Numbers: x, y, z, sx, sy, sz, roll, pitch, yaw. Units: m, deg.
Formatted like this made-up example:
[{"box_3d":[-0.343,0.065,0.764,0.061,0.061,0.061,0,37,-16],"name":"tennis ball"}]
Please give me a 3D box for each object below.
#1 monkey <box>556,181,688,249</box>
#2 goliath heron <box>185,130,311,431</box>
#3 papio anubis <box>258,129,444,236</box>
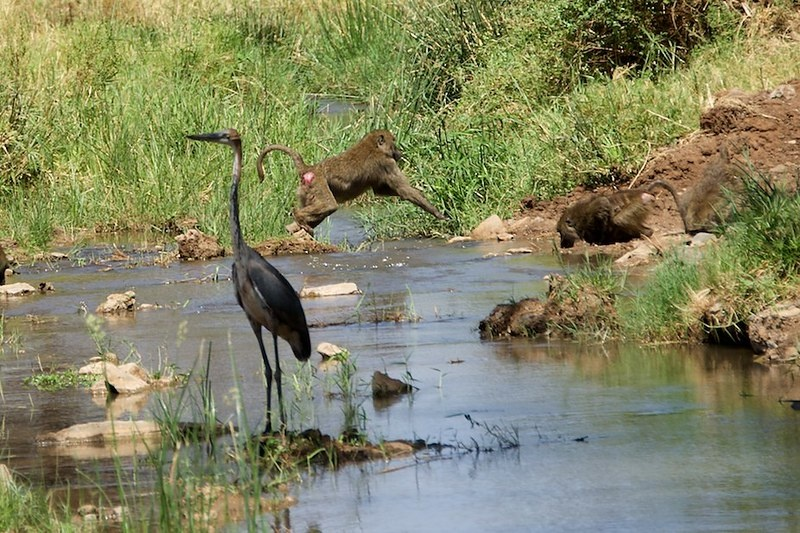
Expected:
[{"box_3d":[3.227,-0.692,16.412,2.034,0.845,0.625,-13,11,-8],"name":"monkey"},{"box_3d":[-1.324,0.242,10.525,0.629,2.905,1.323,0,0,41],"name":"goliath heron"},{"box_3d":[-0.831,-1.365,18.309,2.924,1.463,0.905,-8,16,-14],"name":"papio anubis"}]
